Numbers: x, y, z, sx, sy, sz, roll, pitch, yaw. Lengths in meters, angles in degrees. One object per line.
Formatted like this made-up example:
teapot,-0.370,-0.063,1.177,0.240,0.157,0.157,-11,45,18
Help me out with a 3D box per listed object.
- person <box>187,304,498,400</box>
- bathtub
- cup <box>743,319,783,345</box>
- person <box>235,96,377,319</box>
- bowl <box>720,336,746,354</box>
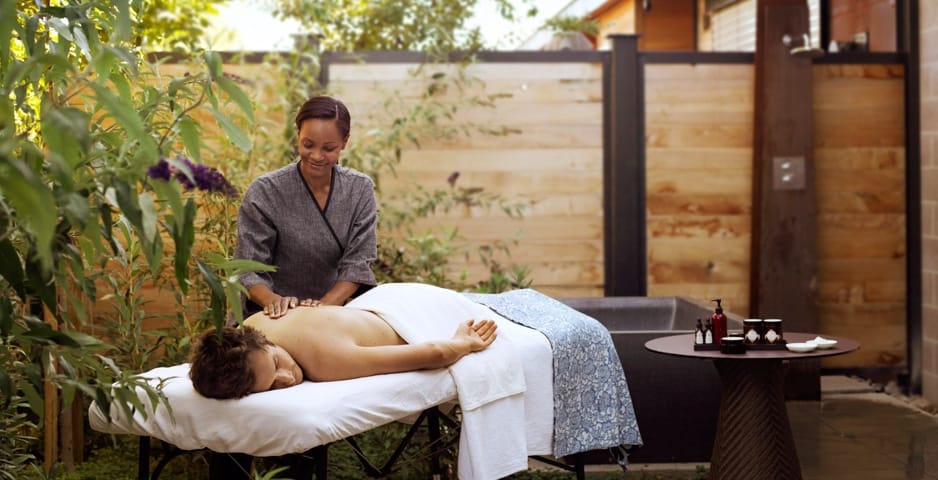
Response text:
person,-0.827,0.582,4.861,0.697,0.563,1.126,-2,-3,29
bathtub,1.323,0.994,6.194,1.086,0.576,1.466,0,1,0
cup,1.800,0.563,5.440,0.254,0.158,0.147,-1,-6,-1
person,-0.965,-0.215,5.264,0.846,1.272,0.354,-3,3,-14
bowl,1.586,0.627,5.330,0.114,0.063,0.110,-2,-2,0
